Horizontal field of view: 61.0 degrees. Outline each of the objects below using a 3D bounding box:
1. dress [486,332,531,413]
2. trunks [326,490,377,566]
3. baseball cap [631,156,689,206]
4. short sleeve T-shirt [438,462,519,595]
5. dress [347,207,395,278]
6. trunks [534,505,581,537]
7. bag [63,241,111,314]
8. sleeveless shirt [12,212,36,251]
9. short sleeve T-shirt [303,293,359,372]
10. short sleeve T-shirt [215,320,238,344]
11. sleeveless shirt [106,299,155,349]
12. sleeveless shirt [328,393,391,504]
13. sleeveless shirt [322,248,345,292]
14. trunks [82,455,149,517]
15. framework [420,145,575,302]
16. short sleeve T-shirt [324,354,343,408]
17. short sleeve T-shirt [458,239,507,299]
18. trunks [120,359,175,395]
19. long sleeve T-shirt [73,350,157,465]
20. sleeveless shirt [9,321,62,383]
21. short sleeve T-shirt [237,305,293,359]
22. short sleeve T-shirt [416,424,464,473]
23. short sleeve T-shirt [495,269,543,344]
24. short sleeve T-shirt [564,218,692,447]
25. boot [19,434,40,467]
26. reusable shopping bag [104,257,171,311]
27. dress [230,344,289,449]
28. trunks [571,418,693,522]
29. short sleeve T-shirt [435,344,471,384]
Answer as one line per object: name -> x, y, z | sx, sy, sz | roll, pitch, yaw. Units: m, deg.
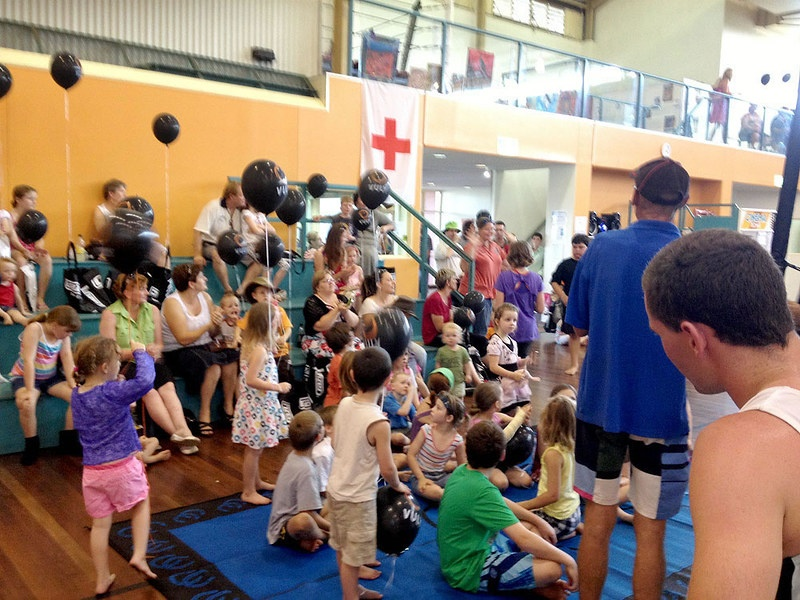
dress -> 0.856, 0.565, 5.394 | 0.377, 0.608, 0.303 | -8, 0, 35
trunks -> -0.218, 1.048, 3.100 | 0.223, 0.280, 0.168 | 0, 10, -5
baseball cap -> 1.123, -0.510, 2.985 | 0.176, 0.150, 0.249 | 1, 31, -2
short sleeve T-shirt -> 0.368, 1.142, 3.324 | 0.313, 0.525, 0.561 | -9, 7, -21
dress -> -0.219, -0.610, 7.037 | 0.306, 0.703, 0.247 | -11, -14, 10
trunks -> 0.859, 1.231, 3.773 | 0.245, 0.094, 0.141 | -23, -27, 40
bag -> -2.556, -0.198, 5.593 | 0.333, 0.623, 0.397 | -2, 2, -11
sleeveless shirt -> -3.110, -0.563, 5.596 | 0.118, 0.302, 0.224 | 3, 23, 5
short sleeve T-shirt -> -0.530, 0.231, 5.574 | 0.539, 0.664, 0.540 | -6, -5, 12
short sleeve T-shirt -> -1.373, 0.242, 5.362 | 0.101, 0.177, 0.176 | 3, 3, 35
sleeveless shirt -> -1.943, 0.179, 4.999 | 0.329, 0.375, 0.196 | -10, -1, -35
sleeveless shirt -> -0.200, 0.688, 3.137 | 0.276, 0.450, 0.214 | 3, 10, 12
sleeveless shirt -> -0.595, -0.292, 6.206 | 0.258, 0.361, 0.137 | -2, 3, 44
trunks -> -1.411, 0.937, 3.387 | 0.316, 0.264, 0.201 | -4, -8, -10
framework -> 1.600, -1.293, 10.440 | 2.656, 2.656, 1.473 | -1, 9, -18
short sleeve T-shirt -> -0.456, 0.633, 5.017 | 0.169, 0.391, 0.138 | -9, -29, 17
short sleeve T-shirt -> 0.854, -0.317, 7.104 | 0.401, 0.699, 0.661 | 4, 3, 45
trunks -> -1.793, 0.535, 4.945 | 0.374, 0.227, 0.141 | 18, 43, -2
long sleeve T-shirt -> -1.402, 0.525, 3.347 | 0.375, 0.547, 0.173 | -4, 11, -26
sleeveless shirt -> -2.515, 0.348, 4.741 | 0.226, 0.437, 0.323 | 10, -5, 22
short sleeve T-shirt -> -0.985, 0.236, 5.249 | 0.297, 0.373, 0.265 | -7, 34, -20
short sleeve T-shirt -> 0.206, 0.946, 4.220 | 0.283, 0.299, 0.165 | 19, 3, -10
short sleeve T-shirt -> 1.169, 0.061, 6.310 | 0.469, 0.681, 0.277 | -8, -11, 27
short sleeve T-shirt -> 0.978, 0.115, 2.929 | 0.527, 0.913, 0.350 | 4, 10, 15
boot -> -2.561, 1.030, 4.710 | 0.109, 0.171, 0.213 | -4, 11, -24
reusable shopping bag -> -2.089, -0.146, 5.614 | 0.577, 0.361, 0.631 | -8, 19, -16
dress -> -0.829, 0.638, 4.393 | 0.310, 0.604, 0.407 | 5, 0, 18
trunks -> 0.985, 0.652, 2.972 | 0.491, 0.479, 0.287 | 1, 6, 27
short sleeve T-shirt -> 0.409, 0.502, 5.297 | 0.313, 0.336, 0.179 | -2, 0, -16
